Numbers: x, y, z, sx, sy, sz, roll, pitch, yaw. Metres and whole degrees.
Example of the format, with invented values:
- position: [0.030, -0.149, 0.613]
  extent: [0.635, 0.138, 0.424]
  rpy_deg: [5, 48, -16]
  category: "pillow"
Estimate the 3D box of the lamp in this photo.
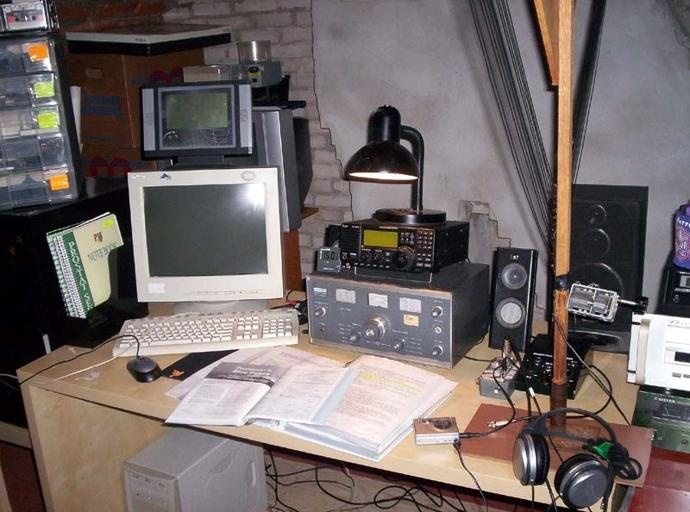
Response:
- position: [0.175, -0.300, 1.862]
  extent: [0.437, 0.371, 0.293]
  rpy_deg: [3, 1, -43]
  category: "lamp"

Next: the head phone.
- position: [0.542, 0.484, 1.303]
  extent: [0.241, 0.250, 0.193]
  rpy_deg: [7, 14, 29]
  category: "head phone"

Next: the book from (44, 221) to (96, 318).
- position: [-0.917, 0.060, 1.842]
  extent: [0.068, 0.250, 0.248]
  rpy_deg: [-12, 5, 7]
  category: "book"

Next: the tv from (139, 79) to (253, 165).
- position: [-0.548, -0.530, 2.166]
  extent: [0.467, 0.283, 0.260]
  rpy_deg: [0, 5, 7]
  category: "tv"

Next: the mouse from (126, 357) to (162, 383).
- position: [-0.635, 0.355, 1.704]
  extent: [0.119, 0.059, 0.073]
  rpy_deg: [7, 14, 31]
  category: "mouse"

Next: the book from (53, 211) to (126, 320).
- position: [-0.897, 0.046, 1.878]
  extent: [0.070, 0.301, 0.298]
  rpy_deg: [-2, 17, 20]
  category: "book"

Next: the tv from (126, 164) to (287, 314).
- position: [-0.502, -0.060, 2.097]
  extent: [0.557, 0.529, 0.318]
  rpy_deg: [-2, 7, -3]
  category: "tv"
